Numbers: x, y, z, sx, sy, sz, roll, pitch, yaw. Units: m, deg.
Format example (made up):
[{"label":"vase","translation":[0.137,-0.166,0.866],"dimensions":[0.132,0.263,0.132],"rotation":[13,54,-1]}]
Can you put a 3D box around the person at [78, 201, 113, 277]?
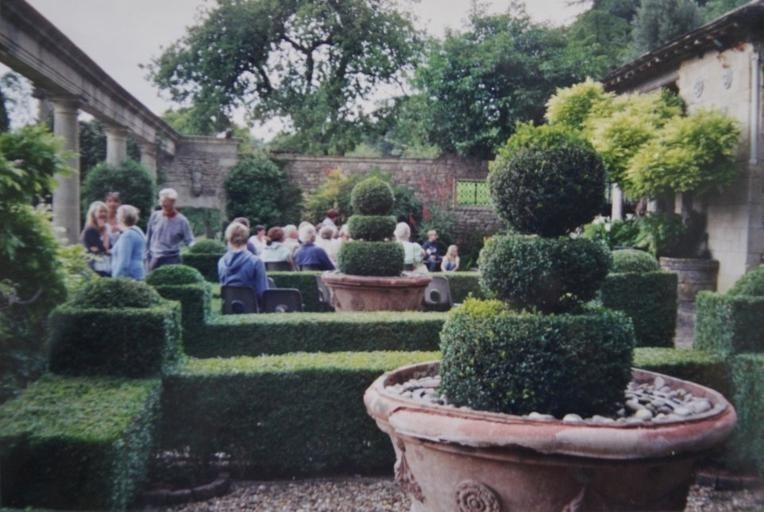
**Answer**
[{"label":"person","translation":[-5.621,-0.361,20.593],"dimensions":[0.545,1.453,0.878],"rotation":[-1,-3,5]}]

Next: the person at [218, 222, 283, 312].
[{"label":"person","translation":[-2.681,0.111,20.166],"dimensions":[1.042,1.757,1.349],"rotation":[6,15,16]}]

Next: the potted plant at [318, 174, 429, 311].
[{"label":"potted plant","translation":[0.179,-0.192,20.983],"dimensions":[2.485,3.206,2.385],"rotation":[0,0,-25]}]

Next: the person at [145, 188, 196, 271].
[{"label":"person","translation":[-4.256,-0.563,20.853],"dimensions":[0.876,1.660,1.111],"rotation":[0,-3,-14]}]

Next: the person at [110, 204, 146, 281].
[{"label":"person","translation":[-4.764,-0.247,19.627],"dimensions":[0.620,1.449,1.103],"rotation":[0,-3,-14]}]
